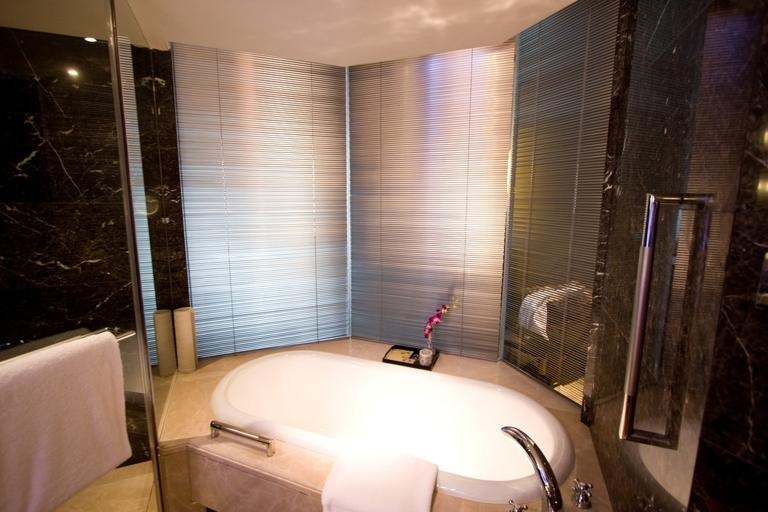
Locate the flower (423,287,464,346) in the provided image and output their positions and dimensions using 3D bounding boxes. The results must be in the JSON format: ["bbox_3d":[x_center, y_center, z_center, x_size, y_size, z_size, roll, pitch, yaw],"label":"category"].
[{"bbox_3d":[0.388,0.486,3.699,0.201,0.458,0.088,1,30,-13],"label":"flower"}]

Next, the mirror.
[{"bbox_3d":[-1.353,-0.155,2.778,0.191,2.343,0.436,-1,6,-24],"label":"mirror"}]

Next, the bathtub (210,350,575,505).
[{"bbox_3d":[0.075,0.984,3.170,1.724,0.315,0.811,6,19,23],"label":"bathtub"}]

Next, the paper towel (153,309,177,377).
[{"bbox_3d":[-1.383,0.573,3.278,0.132,0.401,0.116,-7,-3,10],"label":"paper towel"}]

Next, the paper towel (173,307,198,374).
[{"bbox_3d":[-1.359,0.569,3.453,0.185,0.424,0.162,-8,-6,41],"label":"paper towel"}]
